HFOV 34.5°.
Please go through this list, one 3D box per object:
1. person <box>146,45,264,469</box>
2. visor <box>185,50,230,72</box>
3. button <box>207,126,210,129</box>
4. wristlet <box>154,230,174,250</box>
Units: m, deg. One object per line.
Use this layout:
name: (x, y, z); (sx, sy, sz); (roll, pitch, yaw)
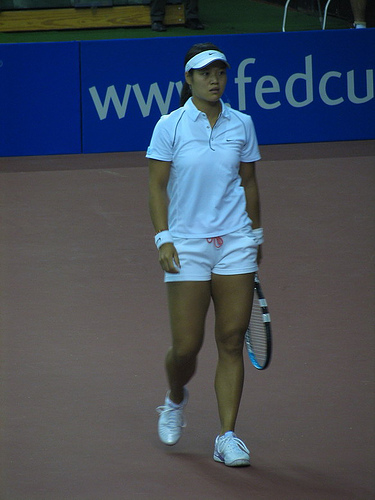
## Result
person: (0.061, 0.040, 2.565); (0.487, 1.782, 0.472); (3, 10, 6)
visor: (0.077, -0.785, 2.501); (0.182, 0.090, 0.192); (2, 8, 1)
button: (0.083, -0.498, 2.441); (0.014, 0.012, 0.003); (0, -4, -6)
wristlet: (-0.096, -0.041, 2.467); (0.081, 0.054, 0.079); (-19, -15, 21)
